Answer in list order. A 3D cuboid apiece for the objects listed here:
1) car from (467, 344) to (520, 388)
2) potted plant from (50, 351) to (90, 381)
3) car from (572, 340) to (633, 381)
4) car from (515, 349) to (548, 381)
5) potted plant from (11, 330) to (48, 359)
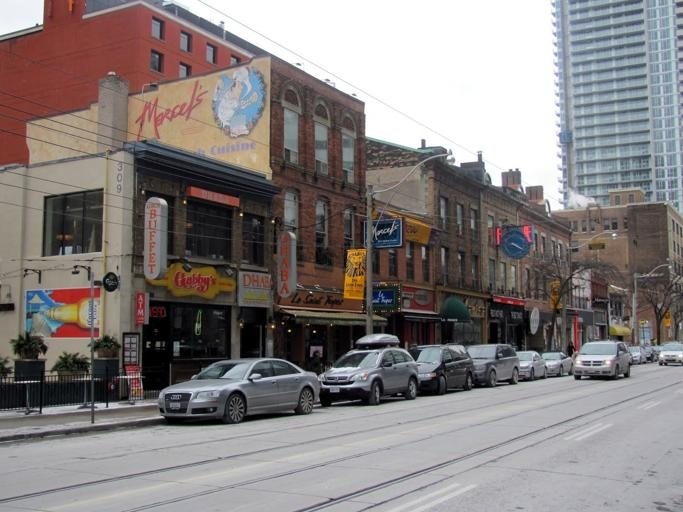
[{"bbox_3d":[7.354,5.248,41.665,1.686,1.710,4.468,-3,-5,35],"label":"car"},{"bbox_3d":[-9.979,4.080,32.130,1.134,0.821,1.156,1,-8,5],"label":"potted plant"},{"bbox_3d":[13.430,5.393,45.280,1.884,2.156,3.770,-7,-13,35],"label":"car"},{"bbox_3d":[10.259,6.019,47.351,1.122,1.647,2.979,-4,-11,20],"label":"car"},{"bbox_3d":[-11.500,3.423,32.857,1.196,0.865,1.219,0,-2,7],"label":"potted plant"}]
